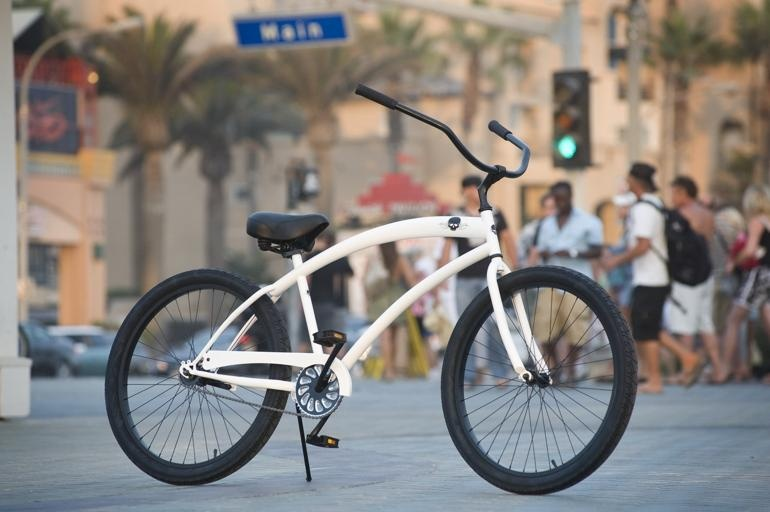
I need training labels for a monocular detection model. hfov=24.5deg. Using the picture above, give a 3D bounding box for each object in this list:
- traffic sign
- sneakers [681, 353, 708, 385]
[{"bbox_3d":[-1.343,-3.283,25.142,1.674,0.473,0.650,5,-3,-4],"label":"traffic sign"},{"bbox_3d":[3.960,1.518,22.769,0.195,0.541,0.194,11,37,-8],"label":"sneakers"}]
